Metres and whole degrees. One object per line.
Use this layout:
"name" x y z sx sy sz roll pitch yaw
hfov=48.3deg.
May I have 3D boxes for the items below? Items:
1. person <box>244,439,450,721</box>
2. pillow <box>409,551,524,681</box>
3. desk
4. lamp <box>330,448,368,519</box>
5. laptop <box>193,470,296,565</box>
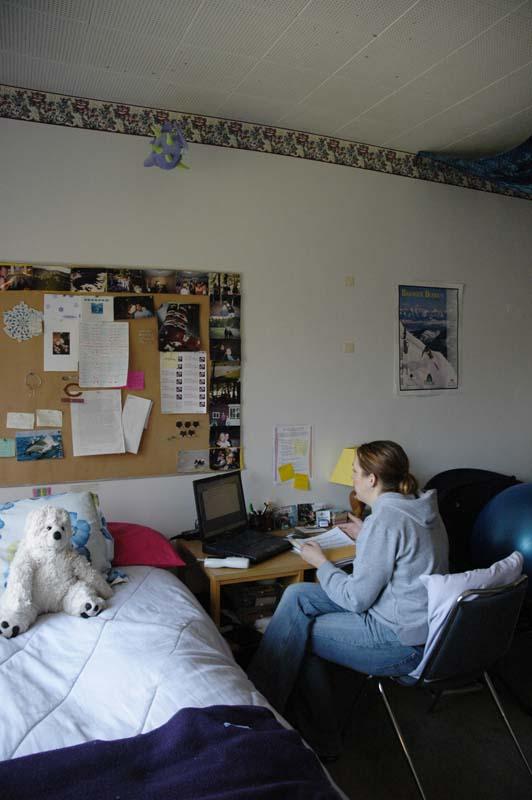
"person" 0.274 0.670 2.065 0.693 1.039 0.447 7 -7 17
"pillow" 0.525 0.543 1.670 0.303 0.334 0.100 -1 16 -33
"desk" -0.007 0.660 2.364 0.488 0.455 0.355 -2 2 -26
"lamp" 0.443 0.415 2.963 0.222 0.365 0.214 -5 5 -21
"laptop" -0.091 0.487 2.460 0.354 0.303 0.344 5 7 23
